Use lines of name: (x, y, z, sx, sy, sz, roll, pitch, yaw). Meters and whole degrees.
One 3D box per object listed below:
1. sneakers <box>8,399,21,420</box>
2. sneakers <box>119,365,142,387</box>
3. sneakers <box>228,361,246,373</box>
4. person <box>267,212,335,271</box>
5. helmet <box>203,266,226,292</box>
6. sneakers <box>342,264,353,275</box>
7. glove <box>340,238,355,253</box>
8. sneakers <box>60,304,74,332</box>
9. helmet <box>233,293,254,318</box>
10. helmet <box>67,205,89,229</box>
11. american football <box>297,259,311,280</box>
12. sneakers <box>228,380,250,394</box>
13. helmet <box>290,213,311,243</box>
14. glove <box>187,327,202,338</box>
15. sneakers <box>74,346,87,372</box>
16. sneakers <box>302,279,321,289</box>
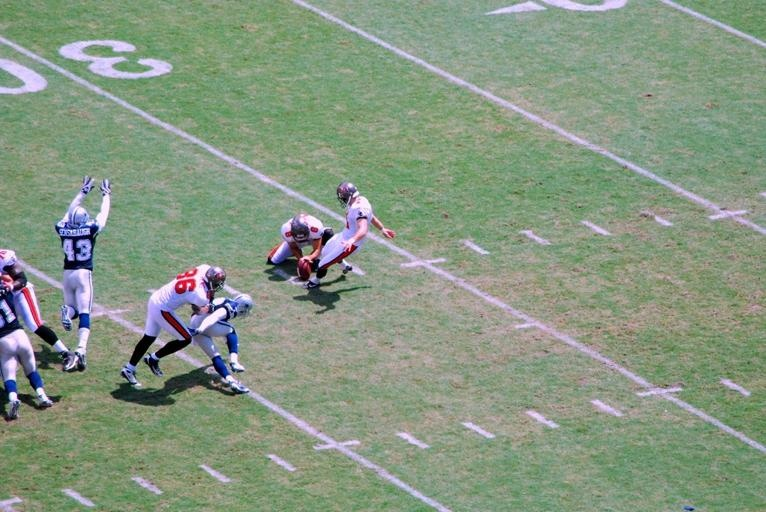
sneakers: (-5.906, 2.445, 24.349, 0.191, 0.345, 0.203, 15, 14, -24)
sneakers: (-4.156, 1.995, 25.124, 0.429, 0.300, 0.129, 39, 28, -17)
sneakers: (-2.394, 1.836, 25.210, 0.167, 0.088, 0.306, -3, 4, -26)
person: (-1.431, -0.228, 27.512, 1.287, 0.781, 1.126, -13, 17, -17)
helmet: (-2.752, 0.389, 24.988, 0.300, 0.402, 0.249, 11, 30, -2)
sneakers: (-0.607, 0.250, 27.525, 0.154, 0.082, 0.223, -43, 17, -25)
glove: (-0.584, -0.183, 26.759, 0.183, 0.226, 0.255, -12, 34, -35)
sneakers: (-5.326, 1.035, 25.336, 0.236, 0.234, 0.423, -19, 71, 5)
helmet: (-2.311, 0.855, 25.255, 0.306, 0.433, 0.287, 7, 30, -9)
helmet: (-5.054, -0.629, 25.427, 0.324, 0.288, 0.308, 13, 27, 6)
american football: (-1.340, 0.257, 27.176, 0.326, 0.328, 0.167, 22, 36, 40)
sneakers: (-2.357, 2.180, 25.203, 0.372, 0.178, 0.105, 17, 69, 10)
helmet: (-1.434, -0.479, 27.165, 0.494, 0.425, 0.460, -6, 43, -1)
glove: (-3.090, 1.247, 25.134, 0.153, 0.045, 0.152, 27, 17, 30)
sneakers: (-4.896, 1.713, 25.133, 0.206, 0.386, 0.203, -2, 31, 3)
sneakers: (-1.237, 0.515, 27.202, 0.381, 0.127, 0.087, -3, 69, -5)
